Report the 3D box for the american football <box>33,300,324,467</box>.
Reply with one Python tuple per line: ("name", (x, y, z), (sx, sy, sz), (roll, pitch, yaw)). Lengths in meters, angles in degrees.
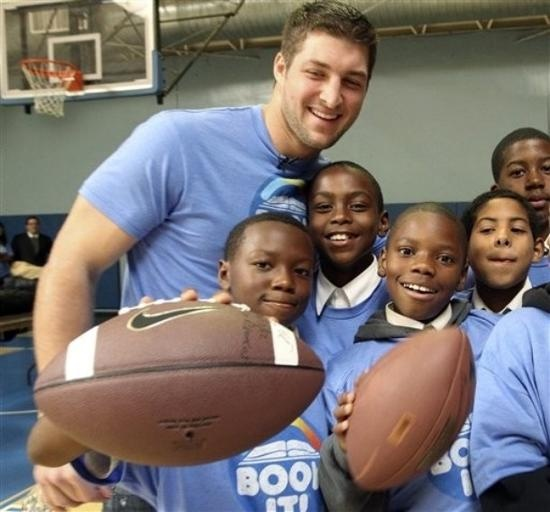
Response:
("american football", (-0.128, 0.183, 0.977), (0.439, 0.200, 0.208), (-4, -17, -1))
